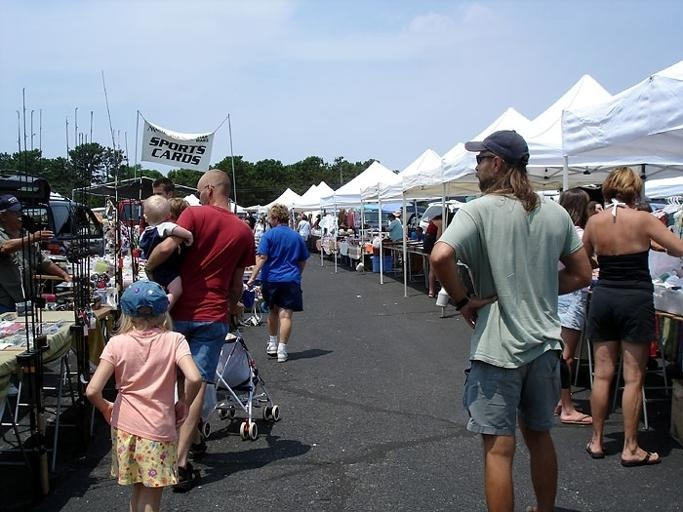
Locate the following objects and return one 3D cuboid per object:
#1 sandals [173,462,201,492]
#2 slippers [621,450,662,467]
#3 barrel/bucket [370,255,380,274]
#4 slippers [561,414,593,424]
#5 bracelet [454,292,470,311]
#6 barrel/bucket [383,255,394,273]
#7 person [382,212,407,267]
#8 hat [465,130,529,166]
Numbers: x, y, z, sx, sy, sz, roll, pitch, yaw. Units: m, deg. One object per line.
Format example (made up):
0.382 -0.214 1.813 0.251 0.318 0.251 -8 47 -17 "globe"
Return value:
-1.217 1.743 4.914 0.146 0.131 0.419 0 -11 1 "sandals"
2.475 1.698 5.184 0.243 0.080 0.141 -10 -4 4 "slippers"
1.080 0.268 20.016 0.489 0.647 0.435 1 7 5 "barrel/bucket"
2.261 1.589 6.044 0.194 0.076 0.120 -10 -7 32 "slippers"
0.744 0.300 3.928 0.114 0.073 0.106 -34 -4 -45 "bracelet"
1.496 0.273 20.289 0.510 0.639 0.425 0 -2 -10 "barrel/bucket"
1.566 -0.584 19.216 0.439 1.521 0.534 14 20 28 "person"
1.011 -0.679 4.015 0.404 0.228 0.272 12 11 20 "hat"
